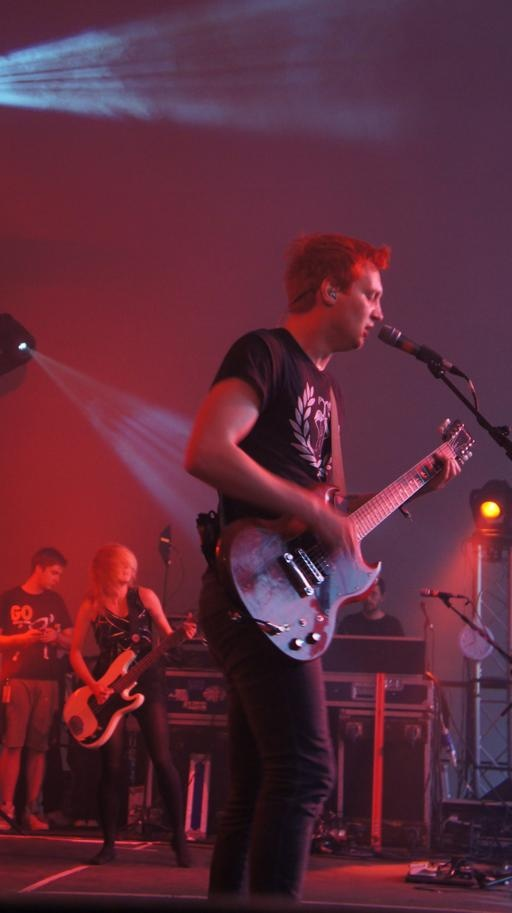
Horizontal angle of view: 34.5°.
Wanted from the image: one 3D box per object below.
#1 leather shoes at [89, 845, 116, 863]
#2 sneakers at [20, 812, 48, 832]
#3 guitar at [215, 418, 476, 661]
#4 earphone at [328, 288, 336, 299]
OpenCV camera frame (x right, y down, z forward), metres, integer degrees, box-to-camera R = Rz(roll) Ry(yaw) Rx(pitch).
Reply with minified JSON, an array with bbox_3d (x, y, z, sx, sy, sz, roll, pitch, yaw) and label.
[{"bbox_3d":[-0.734,1.904,3.947,0.080,0.080,0.182,2,-18,7],"label":"leather shoes"},{"bbox_3d":[-1.369,2.257,5.084,0.218,0.132,0.071,5,-7,-12],"label":"sneakers"},{"bbox_3d":[0.204,0.168,1.879,0.190,0.639,0.884,-4,-20,26],"label":"guitar"},{"bbox_3d":[0.164,-0.351,1.769,0.005,0.021,0.022,-21,-24,36],"label":"earphone"}]
